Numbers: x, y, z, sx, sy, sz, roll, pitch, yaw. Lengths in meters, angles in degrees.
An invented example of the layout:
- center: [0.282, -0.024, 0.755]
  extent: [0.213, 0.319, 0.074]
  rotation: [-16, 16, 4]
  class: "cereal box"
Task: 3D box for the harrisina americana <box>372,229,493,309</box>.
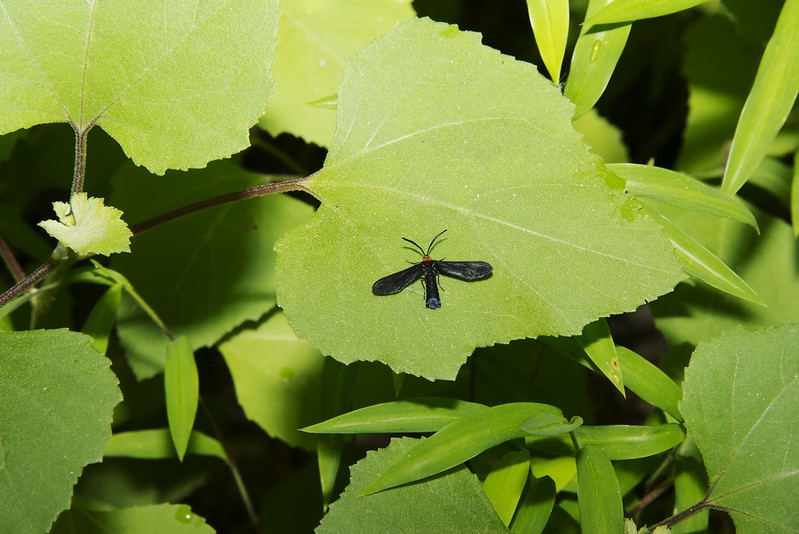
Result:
- center: [0.065, 0.012, 1.528]
  extent: [0.238, 0.167, 0.072]
  rotation: [-7, -41, -3]
  class: "harrisina americana"
